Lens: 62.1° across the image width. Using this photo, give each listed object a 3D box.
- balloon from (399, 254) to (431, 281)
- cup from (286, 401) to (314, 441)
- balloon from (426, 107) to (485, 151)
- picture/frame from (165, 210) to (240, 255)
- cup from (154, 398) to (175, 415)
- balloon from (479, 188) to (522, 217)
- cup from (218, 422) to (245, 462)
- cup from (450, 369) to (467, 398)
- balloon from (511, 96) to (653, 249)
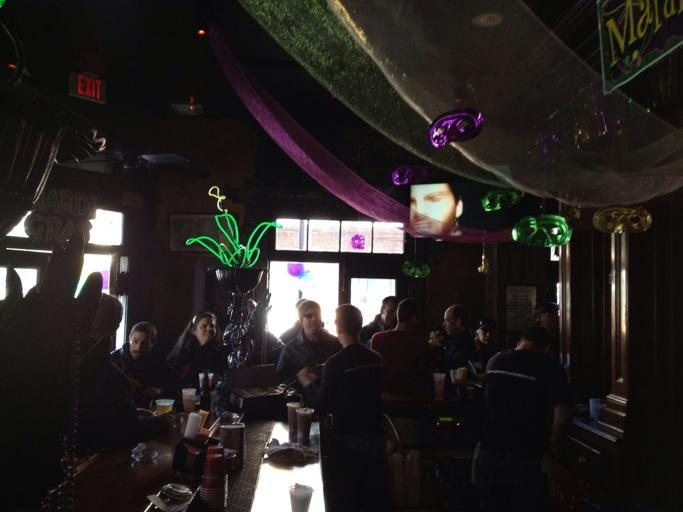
[{"bbox_3d":[0.990,0.095,7.721,0.330,0.168,0.349,14,-17,-7],"label":"balloon"},{"bbox_3d":[-0.255,1.024,3.580,0.179,0.308,0.192,0,-3,0],"label":"cup"},{"bbox_3d":[0.709,-0.840,3.548,0.314,0.190,0.356,2,-10,7],"label":"balloon"},{"bbox_3d":[-1.733,-0.288,6.830,0.534,0.435,0.054,-2,1,-14],"label":"picture/frame"},{"bbox_3d":[-1.186,1.004,3.792,0.115,0.121,0.121,3,-19,1],"label":"cup"},{"bbox_3d":[1.783,-0.592,6.271,0.491,0.234,0.383,-7,-3,-16],"label":"balloon"},{"bbox_3d":[-0.607,1.033,3.164,0.159,0.195,0.165,-2,-10,0],"label":"cup"},{"bbox_3d":[1.010,1.077,4.862,0.168,0.246,0.087,-1,-3,38],"label":"cup"},{"bbox_3d":[1.943,-0.325,4.455,0.949,0.539,0.958,-4,-13,38],"label":"balloon"}]
